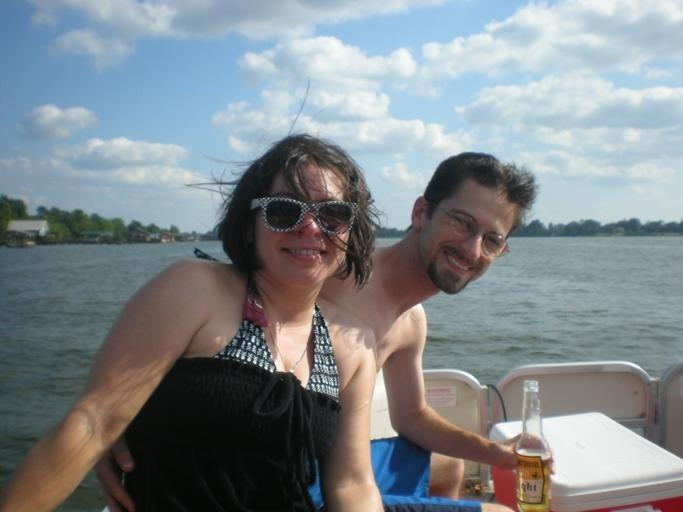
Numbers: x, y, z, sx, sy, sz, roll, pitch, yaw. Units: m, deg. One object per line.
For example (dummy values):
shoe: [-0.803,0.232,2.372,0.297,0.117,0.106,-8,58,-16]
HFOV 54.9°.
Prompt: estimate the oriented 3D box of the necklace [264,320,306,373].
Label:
necklace: [-0.311,0.492,3.504,0.223,0.248,0.075,11,-16,-35]
